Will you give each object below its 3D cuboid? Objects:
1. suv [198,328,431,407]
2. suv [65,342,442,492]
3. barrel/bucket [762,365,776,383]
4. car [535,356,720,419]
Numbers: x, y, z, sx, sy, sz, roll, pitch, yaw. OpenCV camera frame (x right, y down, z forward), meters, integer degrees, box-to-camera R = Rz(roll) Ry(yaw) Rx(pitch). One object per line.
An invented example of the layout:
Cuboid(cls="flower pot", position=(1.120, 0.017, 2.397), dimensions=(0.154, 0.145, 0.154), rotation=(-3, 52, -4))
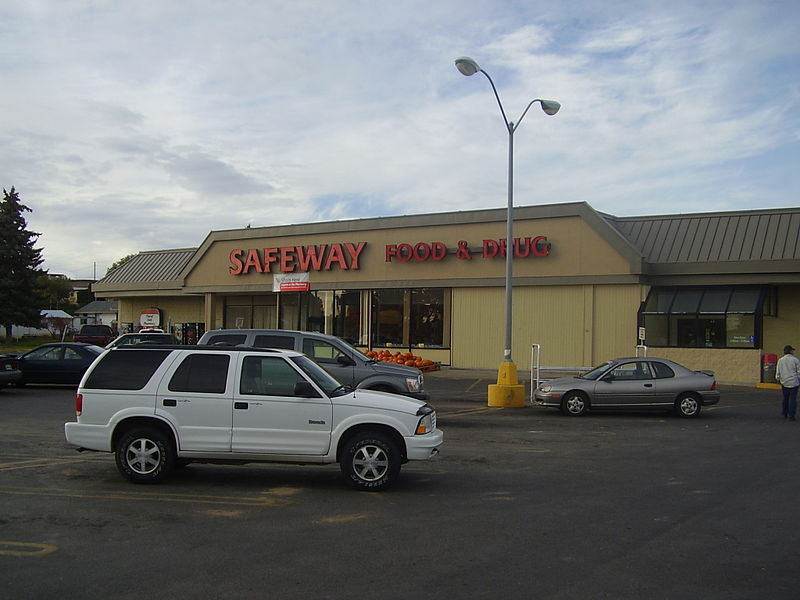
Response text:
Cuboid(cls="suv", position=(-2.106, 1.805, 17.706), dimensions=(5.410, 1.755, 2.220), rotation=(0, -1, 13))
Cuboid(cls="suv", position=(-2.220, 1.680, 11.597), dimensions=(5.400, 1.890, 2.432), rotation=(-1, -2, 8))
Cuboid(cls="barrel/bucket", position=(15.120, 2.921, 28.847), dimensions=(0.553, 0.659, 0.362), rotation=(0, 0, 24))
Cuboid(cls="car", position=(6.446, 2.415, 20.316), dimensions=(4.573, 1.508, 1.963), rotation=(1, -3, 7))
